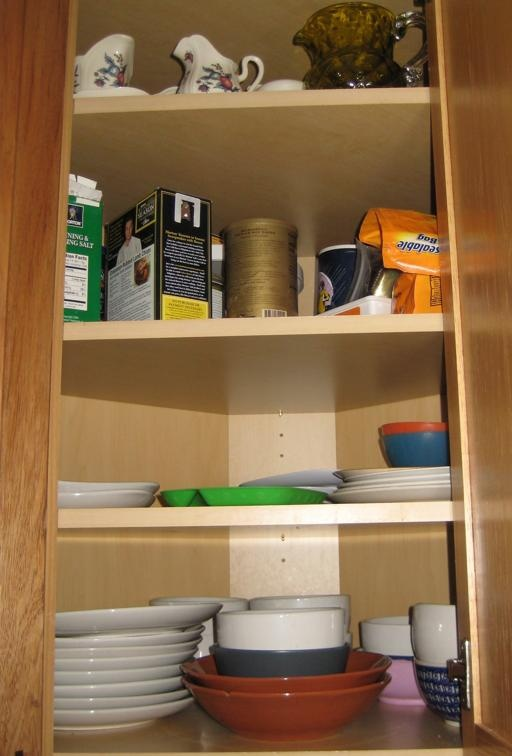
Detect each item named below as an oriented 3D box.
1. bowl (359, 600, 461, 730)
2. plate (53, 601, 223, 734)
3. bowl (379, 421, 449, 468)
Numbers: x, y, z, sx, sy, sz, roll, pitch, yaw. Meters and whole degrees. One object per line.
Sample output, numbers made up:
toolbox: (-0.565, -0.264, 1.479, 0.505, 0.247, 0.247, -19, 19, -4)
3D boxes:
bowl: (0.168, 0.336, 0.822, 0.111, 0.116, 0.136, 0, -4, -9)
plate: (-0.146, 0.325, 0.787, 0.152, 0.073, 0.156, -14, -21, 37)
bowl: (0.212, 0.089, 0.885, 0.066, 0.044, 0.069, 0, -16, 0)
